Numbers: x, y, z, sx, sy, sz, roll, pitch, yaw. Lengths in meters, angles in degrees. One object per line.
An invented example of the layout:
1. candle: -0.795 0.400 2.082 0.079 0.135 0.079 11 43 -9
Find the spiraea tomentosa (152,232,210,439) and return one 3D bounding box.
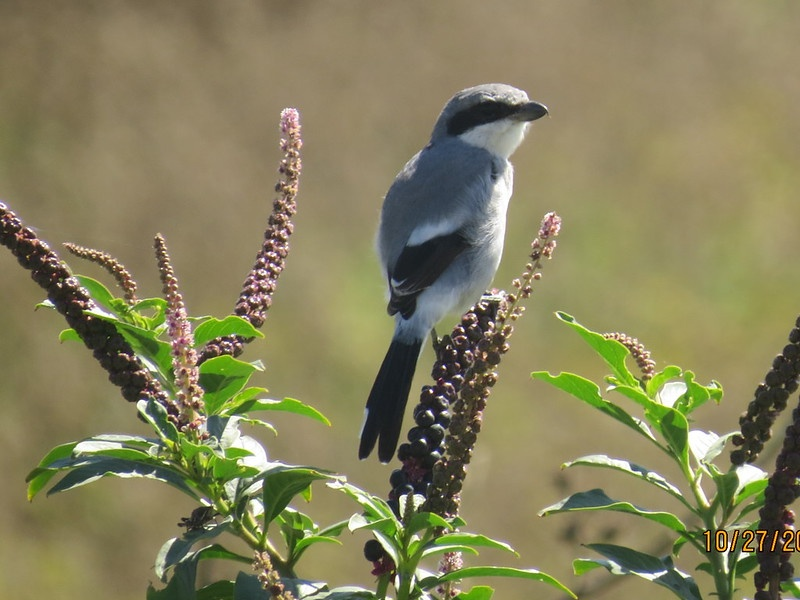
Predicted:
1. spiraea tomentosa: -0.664 0.185 4.048 0.113 0.624 0.101 -11 -5 -8

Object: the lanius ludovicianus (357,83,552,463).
1. lanius ludovicianus: 0.089 -0.271 5.934 1.669 1.006 0.515 -27 11 -41

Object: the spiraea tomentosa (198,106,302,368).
1. spiraea tomentosa: -0.464 -0.258 4.452 0.227 1.084 0.527 10 -20 -5

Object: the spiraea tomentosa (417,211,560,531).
1. spiraea tomentosa: 0.266 0.201 4.237 0.472 0.891 0.681 -1 20 -12
